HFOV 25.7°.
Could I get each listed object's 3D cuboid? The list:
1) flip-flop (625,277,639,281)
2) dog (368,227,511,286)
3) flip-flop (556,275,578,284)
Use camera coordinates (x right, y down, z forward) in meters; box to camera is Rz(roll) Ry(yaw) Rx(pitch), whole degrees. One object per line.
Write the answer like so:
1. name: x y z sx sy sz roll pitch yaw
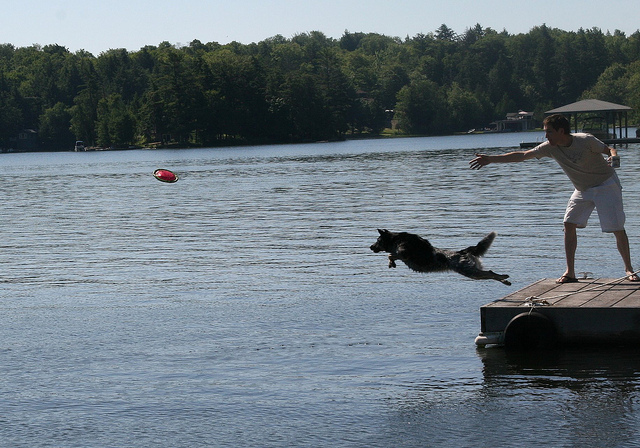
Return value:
1. flip-flop: 8.083 1.435 36.587 0.357 0.105 0.125 -1 6 15
2. dog: 3.597 0.799 35.929 5.030 1.398 1.158 3 8 4
3. flip-flop: 6.416 1.489 36.891 0.615 0.111 0.185 0 2 -7
